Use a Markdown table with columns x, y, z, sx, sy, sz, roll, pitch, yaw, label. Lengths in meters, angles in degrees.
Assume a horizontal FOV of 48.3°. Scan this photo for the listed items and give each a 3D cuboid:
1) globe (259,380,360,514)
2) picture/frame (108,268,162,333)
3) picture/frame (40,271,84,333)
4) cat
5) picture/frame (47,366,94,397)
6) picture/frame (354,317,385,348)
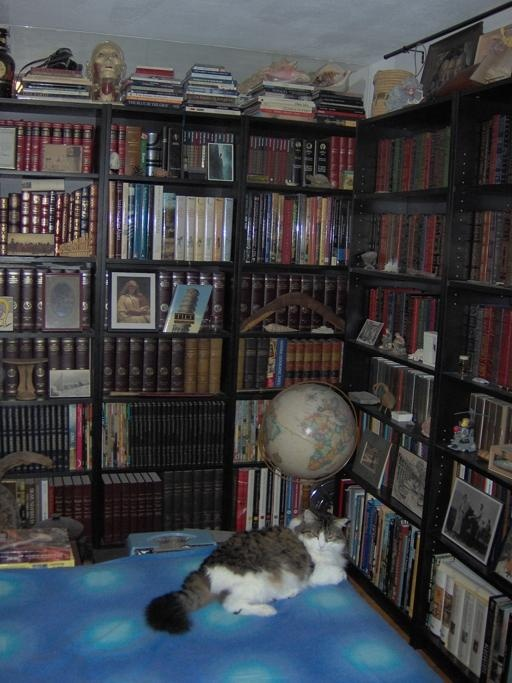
| x | y | z | sx | sy | sz | roll | pitch | yaw | label |
| --- | --- | --- | --- | --- | --- | --- | --- | --- | --- |
| 0.179 | 0.361 | 2.182 | 0.322 | 0.364 | 0.253 | 6 | 9 | 30 | globe |
| -0.615 | -0.205 | 2.836 | 0.341 | 0.405 | 0.034 | -3 | 10 | -22 | picture/frame |
| -0.936 | -0.190 | 2.758 | 0.166 | 0.278 | 0.043 | -3 | 9 | -31 | picture/frame |
| 0.000 | 0.499 | 1.269 | 0.414 | 0.149 | 0.158 | -10 | 18 | -34 | cat |
| -0.914 | 0.206 | 2.797 | 0.245 | 0.161 | 0.130 | 1 | 8 | -13 | picture/frame |
| 0.550 | -0.042 | 2.776 | 0.035 | 0.119 | 0.130 | 24 | -2 | -33 | picture/frame |
